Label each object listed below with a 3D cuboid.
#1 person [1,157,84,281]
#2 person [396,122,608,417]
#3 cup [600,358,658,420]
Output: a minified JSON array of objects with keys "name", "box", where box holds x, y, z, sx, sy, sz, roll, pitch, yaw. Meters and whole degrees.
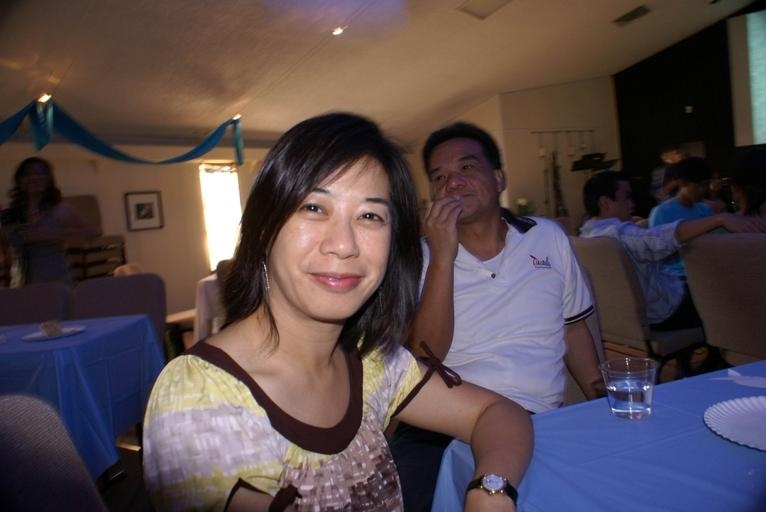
[{"name":"person","box":[-3.336,-0.354,5.135,0.645,1.200,0.900,-6,7,-36]},{"name":"person","box":[0.514,0.107,2.717,1.113,1.451,0.714,-10,-4,-14]},{"name":"cup","box":[0.853,0.443,1.834,0.187,0.175,0.186,-2,-2,0]}]
